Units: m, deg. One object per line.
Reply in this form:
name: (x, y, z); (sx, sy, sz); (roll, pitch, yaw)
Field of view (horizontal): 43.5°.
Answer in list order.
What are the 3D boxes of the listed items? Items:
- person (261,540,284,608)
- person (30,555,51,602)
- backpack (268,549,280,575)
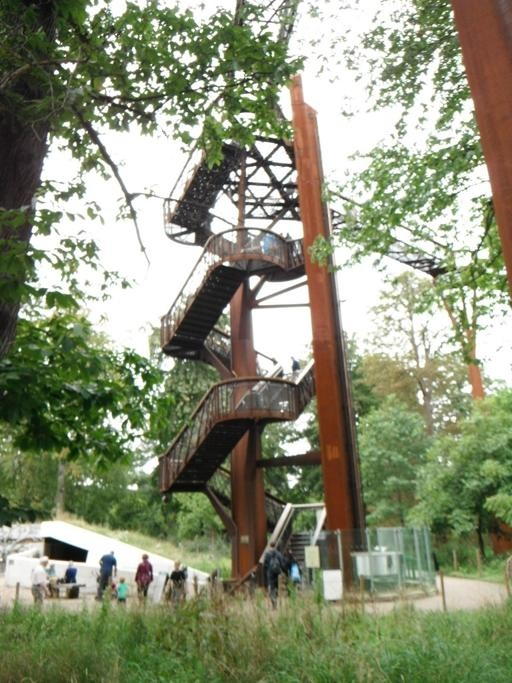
person: (0.256, 3.468, 9.560); (0.300, 0.939, 0.264); (-5, 10, -13)
person: (-3.967, 4.570, 11.919); (0.313, 1.043, 0.392); (5, 0, -32)
backpack: (0.268, 3.311, 9.547); (0.158, 0.358, 0.309); (-7, -13, 10)
